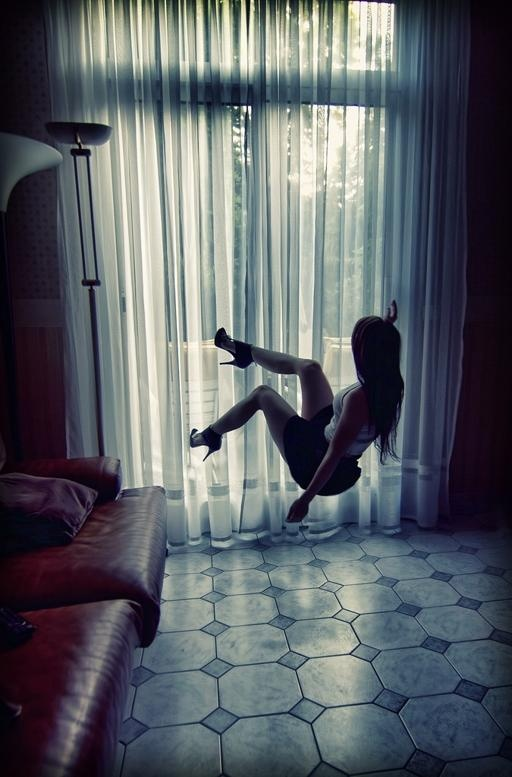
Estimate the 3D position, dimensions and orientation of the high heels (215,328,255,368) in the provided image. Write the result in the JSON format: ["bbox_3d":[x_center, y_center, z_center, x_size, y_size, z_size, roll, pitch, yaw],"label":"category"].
[{"bbox_3d":[-0.113,-0.198,2.554,0.104,0.110,0.295,7,20,-33],"label":"high heels"}]

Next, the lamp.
[{"bbox_3d":[-0.738,-0.399,2.512,0.252,1.439,0.492,-2,5,-18],"label":"lamp"}]
